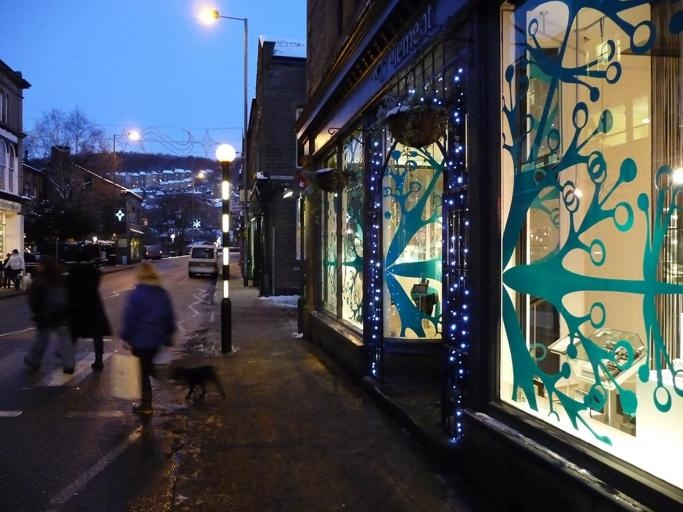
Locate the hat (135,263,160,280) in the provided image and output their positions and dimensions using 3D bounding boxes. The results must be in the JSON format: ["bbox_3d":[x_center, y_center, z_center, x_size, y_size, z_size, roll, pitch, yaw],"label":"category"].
[{"bbox_3d":[-2.375,0.193,7.812,0.175,0.245,0.236,5,-7,-32],"label":"hat"}]

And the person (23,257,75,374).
[{"bbox_3d":[-4.435,0.905,9.690,0.560,1.802,0.879,-3,4,-38],"label":"person"}]

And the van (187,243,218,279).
[{"bbox_3d":[-7.900,0.179,36.561,1.155,1.325,2.347,1,5,-5],"label":"van"}]

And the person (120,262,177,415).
[{"bbox_3d":[-2.421,1.024,7.973,0.651,1.919,0.454,-2,3,-24],"label":"person"}]

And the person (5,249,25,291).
[{"bbox_3d":[-13.231,0.460,25.825,0.654,1.564,2.194,-2,4,-28],"label":"person"}]
